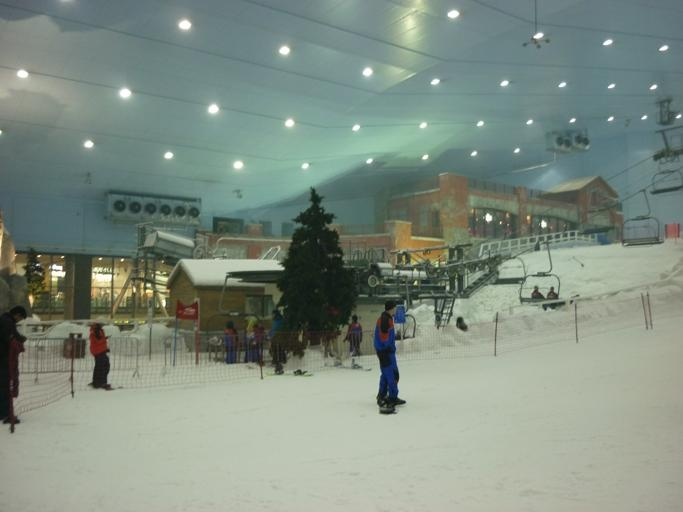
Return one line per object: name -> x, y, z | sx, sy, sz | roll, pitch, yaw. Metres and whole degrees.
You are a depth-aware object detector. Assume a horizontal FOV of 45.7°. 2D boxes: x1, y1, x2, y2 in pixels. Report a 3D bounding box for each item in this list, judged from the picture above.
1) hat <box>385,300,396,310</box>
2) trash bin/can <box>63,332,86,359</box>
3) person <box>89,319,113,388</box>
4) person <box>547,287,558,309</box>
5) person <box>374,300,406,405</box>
hat -> 1.608, 1.619, 26.473 | 0.215, 0.296, 0.287 | 13, 39, 35
trash bin/can -> -11.929, 4.013, 36.175 | 0.994, 1.182, 1.942 | -1, -6, -19
person -> -8.798, 3.653, 29.609 | 0.736, 2.480, 1.148 | -1, -5, -18
person -> 11.002, 2.180, 42.216 | 0.502, 1.199, 1.930 | -4, -6, 15
person -> 1.571, 3.308, 26.586 | 0.863, 3.635, 1.005 | -3, -5, 7
